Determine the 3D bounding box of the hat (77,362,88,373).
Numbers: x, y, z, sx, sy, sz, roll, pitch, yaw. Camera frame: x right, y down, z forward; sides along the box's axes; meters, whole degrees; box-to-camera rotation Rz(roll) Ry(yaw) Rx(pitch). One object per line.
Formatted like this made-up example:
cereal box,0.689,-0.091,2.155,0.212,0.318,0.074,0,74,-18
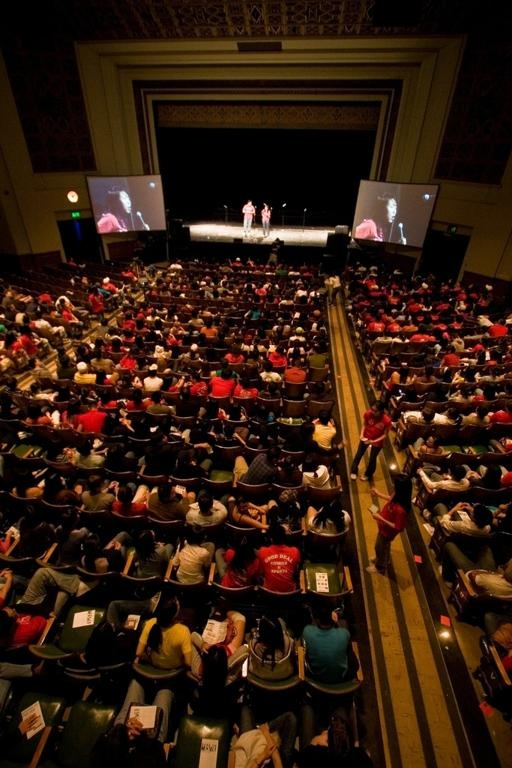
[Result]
hat,-2.584,-0.233,6.695,0.160,0.173,0.220,4,-10,-15

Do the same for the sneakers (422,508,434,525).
sneakers,1.883,1.474,4.972,0.084,0.141,0.146,2,59,13

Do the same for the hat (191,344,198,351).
hat,-1.013,-0.584,7.417,0.069,0.110,0.263,2,17,-9
